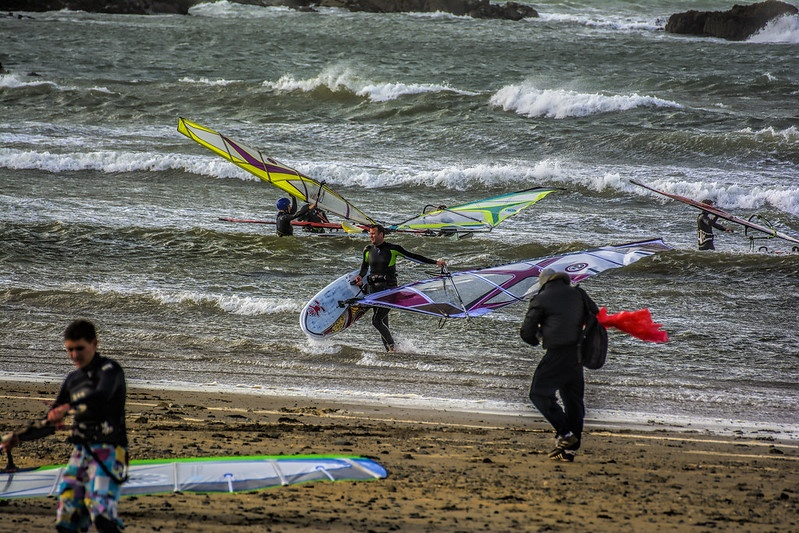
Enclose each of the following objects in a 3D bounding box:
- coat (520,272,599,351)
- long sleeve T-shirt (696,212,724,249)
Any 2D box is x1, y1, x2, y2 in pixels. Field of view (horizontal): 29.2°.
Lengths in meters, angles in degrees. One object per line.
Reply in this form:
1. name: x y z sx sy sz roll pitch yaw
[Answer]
1. coat: 4.439 1.302 43.037 3.030 1.924 1.339 -5 21 4
2. long sleeve T-shirt: 10.452 -1.171 51.991 0.781 1.389 0.688 -18 39 -7
